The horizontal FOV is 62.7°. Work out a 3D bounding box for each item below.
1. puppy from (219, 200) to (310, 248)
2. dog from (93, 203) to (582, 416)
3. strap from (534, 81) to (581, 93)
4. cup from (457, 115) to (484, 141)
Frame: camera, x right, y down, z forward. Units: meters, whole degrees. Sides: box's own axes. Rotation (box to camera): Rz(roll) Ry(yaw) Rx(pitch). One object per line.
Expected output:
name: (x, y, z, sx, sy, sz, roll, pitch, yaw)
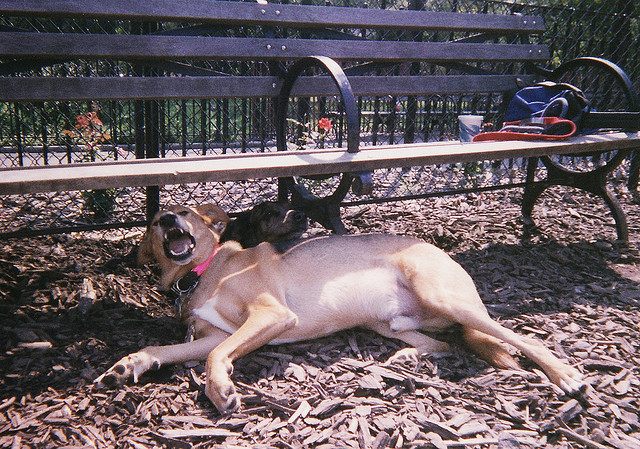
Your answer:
puppy: (-0.347, 0.034, 3.943, 0.432, 0.377, 0.936, -10, 7, -38)
dog: (0.015, 0.466, 3.526, 3.256, 1.151, 0.787, 1, -11, -7)
strap: (2.137, -1.190, 4.750, 0.197, 0.063, 0.288, -2, 8, -8)
cup: (1.266, -0.798, 4.556, 0.239, 0.184, 0.236, 1, 13, 0)
